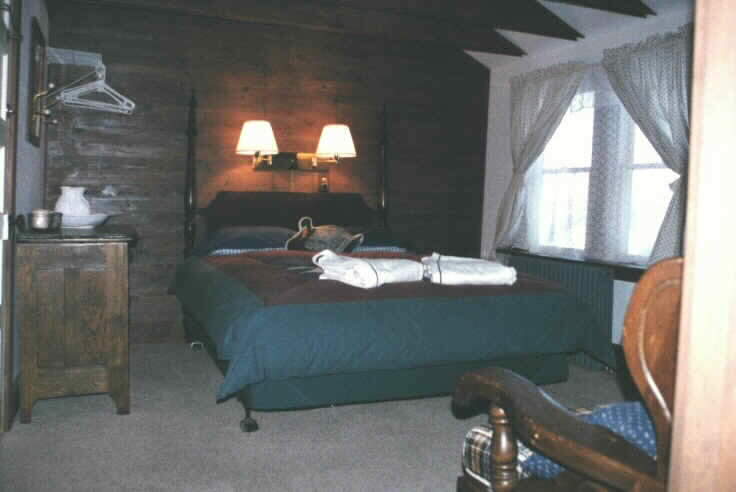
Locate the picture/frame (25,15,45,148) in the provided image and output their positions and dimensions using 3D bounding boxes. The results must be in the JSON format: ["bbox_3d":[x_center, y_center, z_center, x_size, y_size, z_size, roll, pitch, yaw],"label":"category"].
[{"bbox_3d":[-2.270,-1.113,4.350,0.094,0.831,0.513,-2,11,-21],"label":"picture/frame"}]

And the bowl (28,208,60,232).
[{"bbox_3d":[-2.003,-0.164,3.912,0.148,0.078,0.124,2,4,-22],"label":"bowl"}]

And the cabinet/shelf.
[{"bbox_3d":[-1.985,0.414,4.011,0.862,1.101,0.838,-1,-1,-18],"label":"cabinet/shelf"}]

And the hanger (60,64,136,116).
[{"bbox_3d":[-2.174,-1.258,5.080,0.672,0.371,0.399,-8,14,-42],"label":"hanger"}]

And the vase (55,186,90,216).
[{"bbox_3d":[-1.934,-0.310,4.299,0.234,0.217,0.181,4,1,7],"label":"vase"}]

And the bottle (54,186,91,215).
[{"bbox_3d":[-2.007,-0.307,4.308,0.232,0.216,0.179,4,1,7],"label":"bottle"}]
